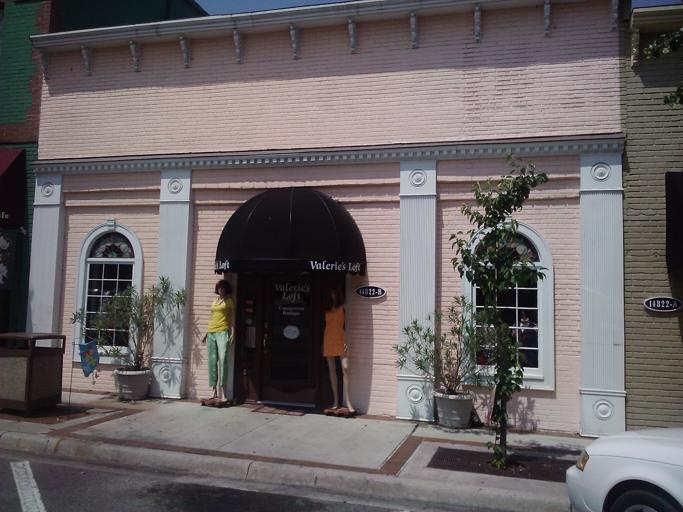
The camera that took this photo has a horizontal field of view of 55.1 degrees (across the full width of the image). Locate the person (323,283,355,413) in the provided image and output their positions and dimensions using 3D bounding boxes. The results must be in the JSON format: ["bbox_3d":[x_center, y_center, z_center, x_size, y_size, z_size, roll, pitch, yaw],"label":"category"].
[{"bbox_3d":[-0.045,1.983,13.810,0.653,2.698,0.550,-1,-5,7],"label":"person"}]

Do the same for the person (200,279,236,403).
[{"bbox_3d":[-2.643,1.853,14.231,0.549,2.747,0.711,4,-7,-42],"label":"person"}]

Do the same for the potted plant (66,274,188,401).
[{"bbox_3d":[-4.789,1.846,14.848,2.580,2.729,0.902,-2,-5,25],"label":"potted plant"}]
